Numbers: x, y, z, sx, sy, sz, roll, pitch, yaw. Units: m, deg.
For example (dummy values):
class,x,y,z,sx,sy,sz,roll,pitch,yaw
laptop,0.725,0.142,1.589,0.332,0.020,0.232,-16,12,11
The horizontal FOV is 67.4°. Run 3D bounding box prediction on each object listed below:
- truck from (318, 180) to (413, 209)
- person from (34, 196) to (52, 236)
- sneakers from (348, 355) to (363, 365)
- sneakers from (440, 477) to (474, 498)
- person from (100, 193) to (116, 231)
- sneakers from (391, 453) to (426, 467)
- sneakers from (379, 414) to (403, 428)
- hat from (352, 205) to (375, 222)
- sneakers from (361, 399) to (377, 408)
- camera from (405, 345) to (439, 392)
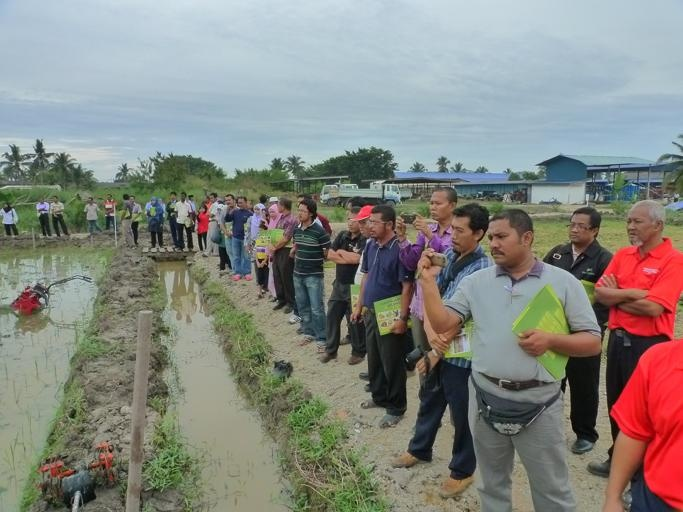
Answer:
class,x,y,z,sx,sy,sz,roll,pitch,yaw
truck,1.861,-4.216,34.440,5.878,2.042,2.524,-1,7,-5
person,-12.458,-1.597,21.461,0.490,1.508,1.440,-11,16,-29
sneakers,0.185,1.492,7.273,0.093,0.080,0.189,-7,-12,37
sneakers,1.057,2.078,4.630,0.324,0.132,0.132,-7,3,-36
person,-10.024,-1.885,22.027,0.478,1.617,2.525,-10,15,-24
sneakers,0.638,2.008,5.049,0.361,0.156,0.133,4,-1,-5
sneakers,0.533,1.832,5.652,0.111,0.092,0.221,-5,-9,24
hat,0.297,-0.556,7.069,0.186,0.112,0.299,-11,12,44
sneakers,0.317,1.758,6.052,0.086,0.063,0.154,-11,-19,43
camera,0.727,0.964,4.692,0.148,0.333,0.330,19,4,-23
